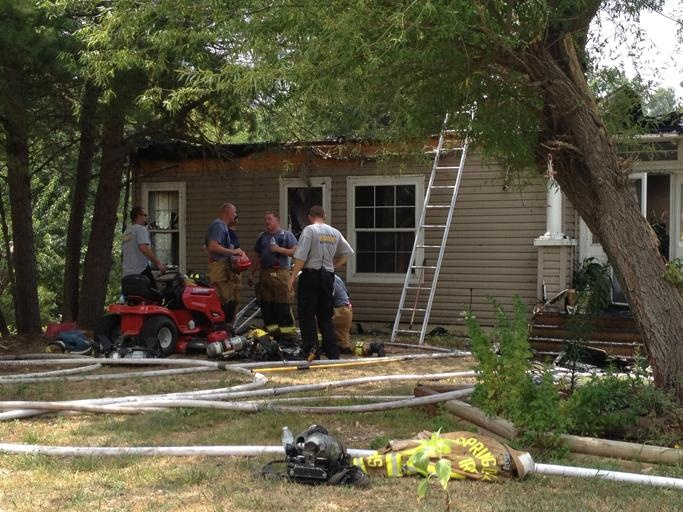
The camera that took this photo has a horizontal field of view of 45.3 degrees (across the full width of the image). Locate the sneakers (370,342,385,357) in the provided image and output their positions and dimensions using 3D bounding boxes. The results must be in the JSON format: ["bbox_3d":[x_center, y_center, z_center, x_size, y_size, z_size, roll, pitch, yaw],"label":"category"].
[{"bbox_3d":[0.522,1.382,11.765,0.174,0.152,0.189,-9,-24,2],"label":"sneakers"}]

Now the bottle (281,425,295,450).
[{"bbox_3d":[-0.428,1.497,6.702,0.097,0.169,0.153,2,-2,-9],"label":"bottle"}]

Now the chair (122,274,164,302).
[{"bbox_3d":[-2.821,0.459,11.486,0.391,0.353,0.421,3,3,17],"label":"chair"}]

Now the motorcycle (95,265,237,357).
[{"bbox_3d":[-2.503,0.794,11.628,1.858,1.263,1.078,2,-2,-20],"label":"motorcycle"}]

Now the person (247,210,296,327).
[{"bbox_3d":[-0.990,0.251,12.196,0.784,1.807,0.425,1,-1,31],"label":"person"}]

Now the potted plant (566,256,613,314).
[{"bbox_3d":[3.753,0.441,12.419,0.726,1.072,0.771,2,-6,-9],"label":"potted plant"}]

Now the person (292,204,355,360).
[{"bbox_3d":[-0.321,0.363,10.843,0.467,2.030,0.887,0,-2,44],"label":"person"}]

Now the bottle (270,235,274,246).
[{"bbox_3d":[-1.015,-0.198,12.156,0.032,0.114,0.073,9,-14,-43],"label":"bottle"}]
